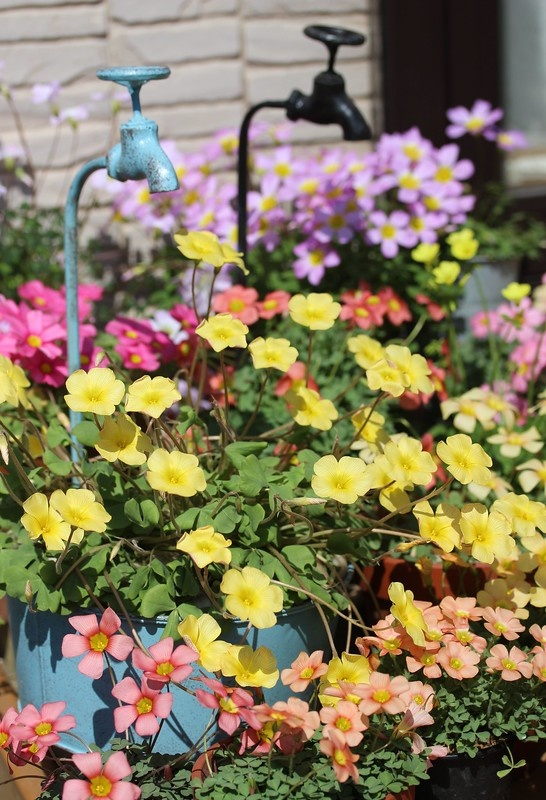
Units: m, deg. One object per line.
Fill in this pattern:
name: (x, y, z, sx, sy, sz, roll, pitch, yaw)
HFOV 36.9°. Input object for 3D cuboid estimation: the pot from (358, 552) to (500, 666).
pot: (0.234, 0.304, 1.265, 0.176, 0.123, 0.172, 1, 3, 0)

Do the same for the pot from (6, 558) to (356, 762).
pot: (-0.172, 0.314, 1.059, 0.309, 0.099, 0.254, -2, -4, 37)
